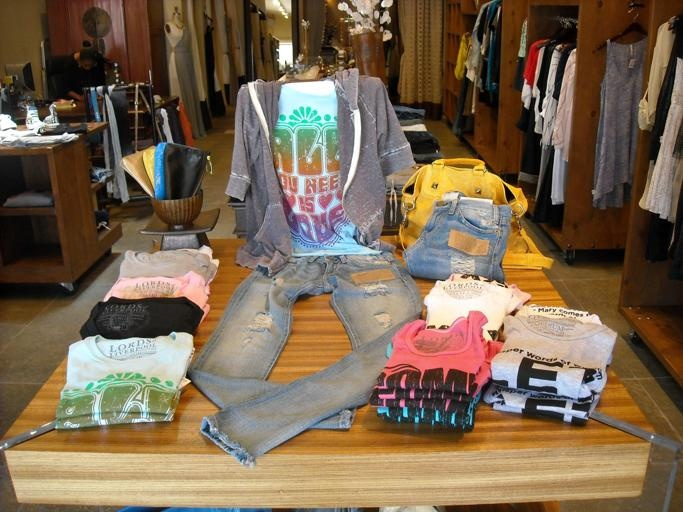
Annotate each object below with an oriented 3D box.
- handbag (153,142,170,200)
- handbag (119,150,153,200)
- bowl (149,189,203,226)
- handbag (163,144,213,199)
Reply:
[{"bbox_3d":[-0.912,-0.430,2.557,0.054,0.226,0.203,3,1,-13],"label":"handbag"},{"bbox_3d":[-1.096,-0.425,2.631,0.068,0.249,0.240,-20,-11,36],"label":"handbag"},{"bbox_3d":[-0.836,-0.236,2.655,0.242,0.164,0.251,-4,16,1],"label":"bowl"},{"bbox_3d":[-0.796,-0.465,2.648,0.205,0.284,0.106,6,12,-9],"label":"handbag"}]
